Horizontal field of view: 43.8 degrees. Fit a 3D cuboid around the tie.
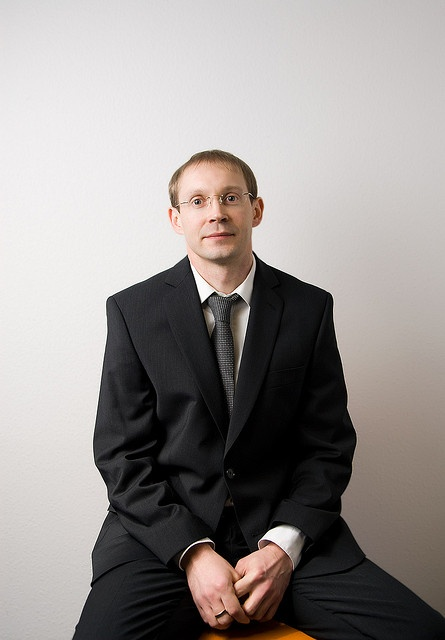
[{"bbox_3d":[-0.004,0.107,1.518,0.084,0.331,0.037,-1,-14,2],"label":"tie"}]
